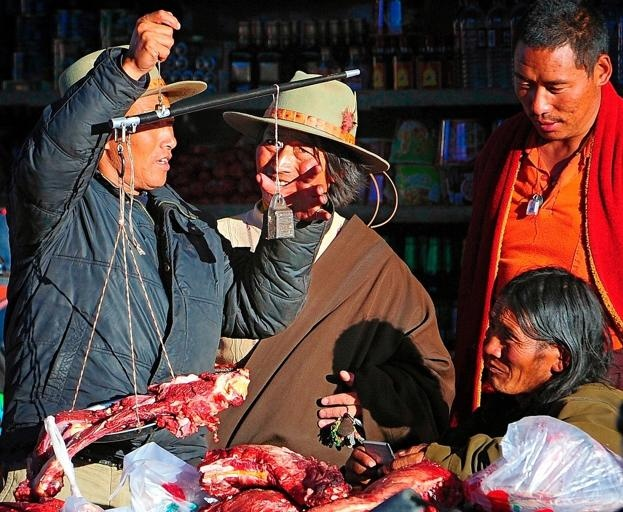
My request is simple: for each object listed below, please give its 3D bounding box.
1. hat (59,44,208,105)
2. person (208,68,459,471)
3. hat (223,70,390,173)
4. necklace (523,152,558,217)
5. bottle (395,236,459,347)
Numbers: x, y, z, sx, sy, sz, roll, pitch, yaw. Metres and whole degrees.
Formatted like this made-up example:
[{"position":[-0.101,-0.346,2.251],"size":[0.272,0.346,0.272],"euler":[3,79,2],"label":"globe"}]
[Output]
[{"position":[-0.605,-0.605,5.294],"size":[0.207,0.222,0.516],"euler":[11,25,27],"label":"hat"},{"position":[0.076,0.150,5.895],"size":[0.683,1.622,0.782],"euler":[-5,16,-20],"label":"person"},{"position":[0.034,-0.525,5.947],"size":[0.436,0.222,0.463],"euler":[18,-6,7],"label":"hat"},{"position":[0.872,-0.295,5.991],"size":[0.103,0.283,0.095],"euler":[-2,13,6],"label":"necklace"},{"position":[0.581,0.125,7.447],"size":[0.230,0.551,0.218],"euler":[-4,9,1],"label":"bottle"}]
